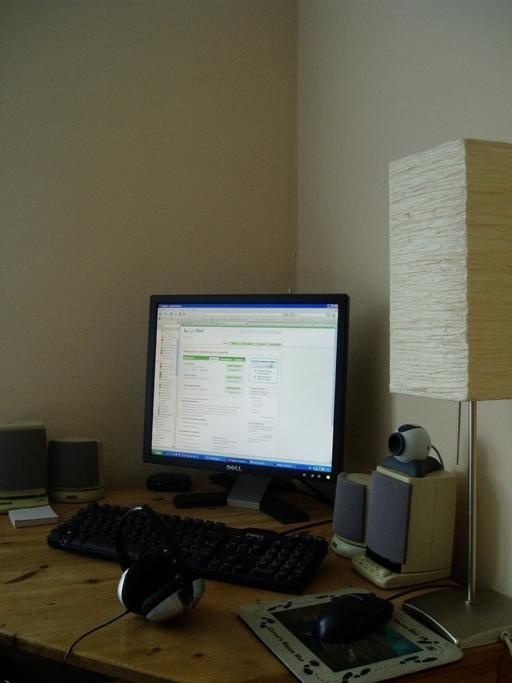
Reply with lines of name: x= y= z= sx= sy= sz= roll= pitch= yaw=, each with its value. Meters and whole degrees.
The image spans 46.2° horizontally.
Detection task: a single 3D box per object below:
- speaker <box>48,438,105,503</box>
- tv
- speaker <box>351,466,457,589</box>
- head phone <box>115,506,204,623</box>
speaker: x=-0.361 y=0.271 z=1.268 sx=0.124 sy=0.118 sz=0.119 roll=0 pitch=-4 yaw=-5
tv: x=-0.012 y=0.124 z=1.206 sx=0.460 sy=0.422 sz=0.116 roll=1 pitch=2 yaw=29
speaker: x=0.218 y=0.269 z=0.940 sx=0.166 sy=0.189 sz=0.139 roll=0 pitch=3 yaw=-20
head phone: x=-0.121 y=0.275 z=0.724 sx=0.115 sy=0.126 sz=0.072 roll=-13 pitch=-5 yaw=41
